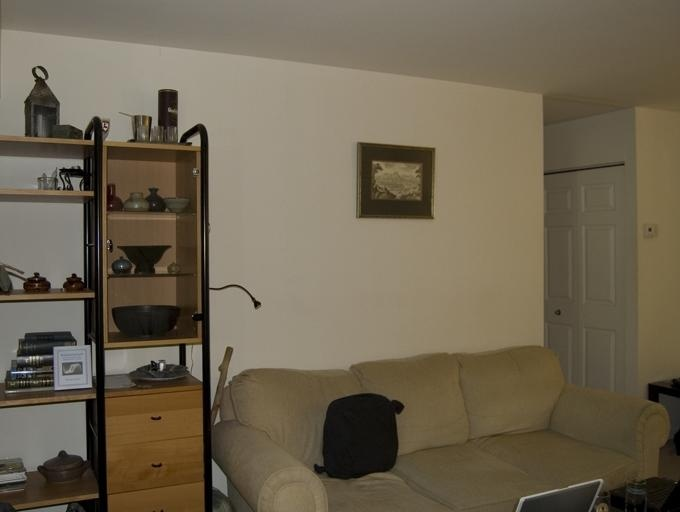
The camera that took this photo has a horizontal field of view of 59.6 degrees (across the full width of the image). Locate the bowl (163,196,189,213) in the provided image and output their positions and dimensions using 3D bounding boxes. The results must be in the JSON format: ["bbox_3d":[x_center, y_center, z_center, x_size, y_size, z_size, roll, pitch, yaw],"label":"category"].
[{"bbox_3d":[-0.953,-0.300,3.453,0.100,0.057,0.100,1,2,0],"label":"bowl"}]

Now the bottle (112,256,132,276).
[{"bbox_3d":[-1.210,0.056,3.292,0.090,0.092,0.093,1,1,-10],"label":"bottle"}]

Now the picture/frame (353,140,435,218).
[{"bbox_3d":[0.354,-0.560,4.280,0.553,0.492,0.040,0,5,-20],"label":"picture/frame"}]

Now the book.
[{"bbox_3d":[-1.680,0.572,3.242,0.303,0.320,0.071,2,-18,-23],"label":"book"}]

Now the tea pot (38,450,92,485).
[{"bbox_3d":[-1.524,1.160,3.251,0.198,0.114,0.171,1,3,5],"label":"tea pot"}]

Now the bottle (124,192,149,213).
[{"bbox_3d":[-1.158,-0.308,3.371,0.109,0.103,0.111,3,-5,-20],"label":"bottle"}]

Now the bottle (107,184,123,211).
[{"bbox_3d":[-1.261,-0.332,3.309,0.068,0.146,0.117,5,14,8],"label":"bottle"}]

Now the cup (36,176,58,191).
[{"bbox_3d":[-1.623,-0.408,3.290,0.090,0.097,0.092,-1,-5,0],"label":"cup"}]

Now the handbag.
[{"bbox_3d":[0.116,1.096,3.589,0.438,0.384,0.321,2,14,-7],"label":"handbag"}]

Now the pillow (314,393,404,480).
[{"bbox_3d":[0.182,1.037,3.407,0.472,0.451,0.113,9,-18,-19],"label":"pillow"}]
